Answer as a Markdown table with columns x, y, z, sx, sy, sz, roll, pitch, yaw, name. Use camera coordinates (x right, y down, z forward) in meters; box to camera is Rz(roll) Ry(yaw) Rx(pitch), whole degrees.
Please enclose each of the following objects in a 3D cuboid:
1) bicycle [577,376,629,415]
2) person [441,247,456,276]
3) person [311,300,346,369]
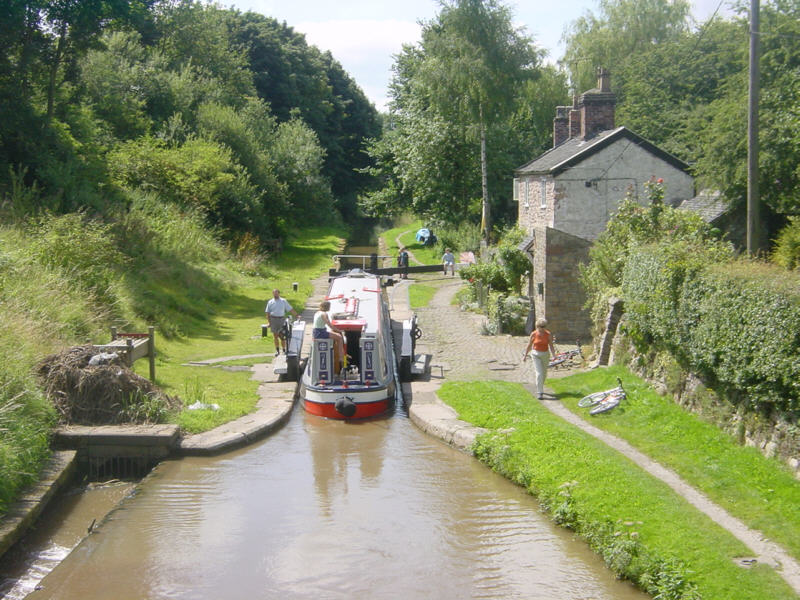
| x | y | z | sx | sy | sz | roll | pitch | yaw | name |
| --- | --- | --- | --- | --- | --- | --- | --- | --- | --- |
| 5.370 | 2.545 | 26.680 | 1.256 | 0.718 | 0.957 | -3 | 6 | -13 | bicycle |
| 2.484 | -1.812 | 51.819 | 0.545 | 1.212 | 1.293 | -1 | 6 | 3 | person |
| -1.883 | 1.048 | 28.622 | 0.817 | 2.026 | 1.364 | -1 | 6 | 10 | person |
